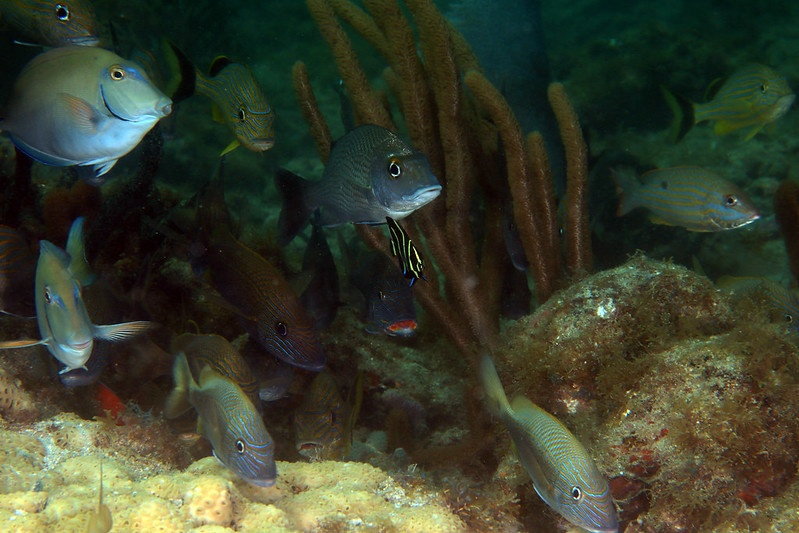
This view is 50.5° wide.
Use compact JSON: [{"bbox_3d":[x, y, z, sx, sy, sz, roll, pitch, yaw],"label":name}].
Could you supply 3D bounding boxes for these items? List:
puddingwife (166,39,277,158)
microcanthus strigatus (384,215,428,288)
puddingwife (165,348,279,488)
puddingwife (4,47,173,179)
[{"bbox_3d":[-1.683,-1.565,7.892,1.305,0.821,0.372,32,32,22],"label":"puddingwife"},{"bbox_3d":[0.052,-0.134,7.239,0.270,0.643,0.298,-9,17,-37],"label":"microcanthus strigatus"},{"bbox_3d":[-1.476,1.217,6.816,1.268,0.719,0.236,28,15,34],"label":"puddingwife"},{"bbox_3d":[-2.493,-1.258,6.684,1.285,0.774,0.471,-7,34,12],"label":"puddingwife"}]
